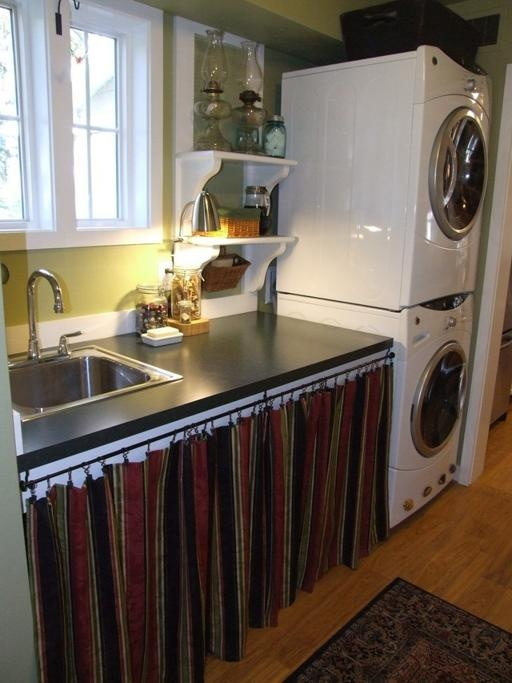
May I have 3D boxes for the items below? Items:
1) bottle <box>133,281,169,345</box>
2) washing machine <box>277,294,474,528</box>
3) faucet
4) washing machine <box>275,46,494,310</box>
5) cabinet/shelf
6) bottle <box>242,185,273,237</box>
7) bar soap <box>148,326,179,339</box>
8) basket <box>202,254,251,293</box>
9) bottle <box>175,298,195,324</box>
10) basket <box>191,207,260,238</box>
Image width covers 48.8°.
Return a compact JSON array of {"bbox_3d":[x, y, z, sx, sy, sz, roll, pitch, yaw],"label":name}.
[{"bbox_3d":[-0.374,-0.116,1.990,0.144,0.299,0.142,1,3,0],"label":"bottle"},{"bbox_3d":[0.635,0.174,2.983,0.920,1.602,0.820,9,16,37],"label":"washing machine"},{"bbox_3d":[-0.615,-0.088,1.635,0.102,0.261,0.388,-2,13,-20],"label":"faucet"},{"bbox_3d":[0.605,-0.639,2.676,0.867,1.367,0.822,7,13,36],"label":"washing machine"},{"bbox_3d":[-0.079,-0.443,2.241,0.208,0.774,0.489,9,15,36],"label":"cabinet/shelf"},{"bbox_3d":[0.016,-0.575,2.402,0.146,0.244,0.143,1,10,0],"label":"bottle"},{"bbox_3d":[-0.319,-0.030,1.925,0.068,0.026,0.121,13,16,37],"label":"bar soap"},{"bbox_3d":[-0.128,-0.291,2.279,0.122,0.109,0.188,-3,14,1],"label":"basket"},{"bbox_3d":[-0.261,-0.110,2.058,0.062,0.082,0.042,1,11,-4],"label":"bottle"},{"bbox_3d":[-0.087,-0.451,2.131,0.085,0.107,0.360,9,14,28],"label":"basket"}]
